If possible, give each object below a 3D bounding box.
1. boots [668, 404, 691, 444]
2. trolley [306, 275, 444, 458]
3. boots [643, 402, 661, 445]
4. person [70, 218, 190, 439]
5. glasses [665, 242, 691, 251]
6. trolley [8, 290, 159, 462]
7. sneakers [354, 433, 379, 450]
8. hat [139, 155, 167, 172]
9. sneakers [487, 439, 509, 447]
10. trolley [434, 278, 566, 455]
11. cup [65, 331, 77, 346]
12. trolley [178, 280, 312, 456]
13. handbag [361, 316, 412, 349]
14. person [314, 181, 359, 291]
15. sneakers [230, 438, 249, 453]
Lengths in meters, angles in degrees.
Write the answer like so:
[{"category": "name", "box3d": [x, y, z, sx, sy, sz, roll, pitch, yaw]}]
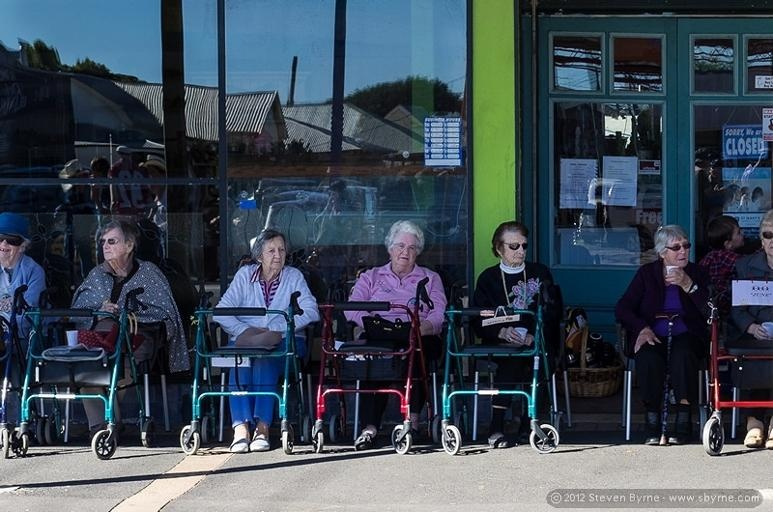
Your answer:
[{"category": "boots", "box3d": [2.706, 1.535, 9.973, 0.211, 0.377, 0.284, -3, -1, 16]}, {"category": "trolley", "box3d": [-0.154, 0.991, 10.009, 0.960, 1.581, 1.171, 0, -2, 14]}, {"category": "boots", "box3d": [2.447, 1.547, 9.906, 0.153, 0.362, 0.115, -3, -1, 14]}, {"category": "person", "box3d": [-2.560, 0.699, 10.563, 1.039, 2.032, 0.955, 2, -8, -32]}, {"category": "glasses", "box3d": [2.749, -0.088, 10.123, 0.234, 0.083, 0.083, -3, -1, -17]}, {"category": "trolley", "box3d": [-2.841, 1.047, 9.926, 1.200, 1.540, 1.568, 0, 6, 1]}, {"category": "sneakers", "box3d": [-0.198, 1.689, 9.858, 0.111, 0.144, 0.212, -3, -12, 18]}, {"category": "hat", "box3d": [-2.375, -0.950, 10.948, 0.200, 0.078, 0.177, 11, 2, 7]}, {"category": "sneakers", "box3d": [1.032, 1.704, 9.867, 0.129, 0.081, 0.085, -12, -12, 43]}, {"category": "trolley", "box3d": [1.005, 1.029, 10.075, 0.988, 1.539, 1.013, -1, -2, 13]}, {"category": "cup", "box3d": [-2.976, 0.767, 10.143, 0.105, 0.184, 0.100, -4, -32, -3]}, {"category": "trolley", "box3d": [-1.344, 1.082, 9.990, 1.177, 1.368, 0.871, -3, -1, -3]}, {"category": "handbag", "box3d": [-0.003, 0.688, 9.923, 0.325, 0.334, 0.127, 1, 17, 15]}, {"category": "person", "box3d": [-0.519, -0.276, 11.015, 0.449, 1.330, 0.117, 0, 36, -9]}, {"category": "sneakers", "box3d": [-1.339, 1.723, 9.820, 0.175, 0.120, 0.115, -3, -1, -9]}]
